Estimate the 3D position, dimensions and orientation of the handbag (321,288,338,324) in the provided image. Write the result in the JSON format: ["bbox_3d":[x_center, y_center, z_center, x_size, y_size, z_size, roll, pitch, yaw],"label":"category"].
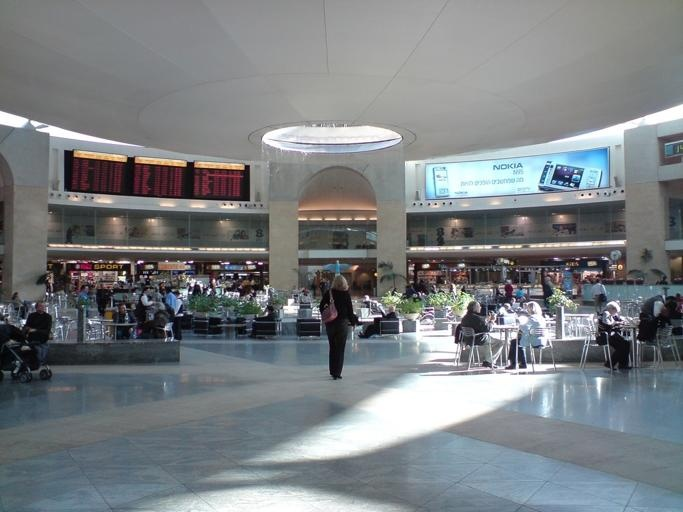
[{"bbox_3d":[-0.224,0.868,8.701,0.201,0.594,0.295,4,-7,-38],"label":"handbag"}]

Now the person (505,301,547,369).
[{"bbox_3d":[3.758,1.638,10.543,0.958,1.359,0.648,1,-6,-19],"label":"person"}]

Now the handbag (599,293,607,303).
[{"bbox_3d":[11.632,1.888,22.754,0.351,0.464,0.668,3,4,35],"label":"handbag"}]

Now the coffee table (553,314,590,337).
[{"bbox_3d":[6.507,2.000,14.469,0.964,0.872,0.749,1,-7,-6],"label":"coffee table"}]

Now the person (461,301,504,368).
[{"bbox_3d":[2.913,1.649,10.696,0.606,1.357,0.880,-5,-7,40],"label":"person"}]

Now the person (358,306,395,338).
[{"bbox_3d":[1.119,2.262,16.197,0.747,0.814,1.271,4,-8,-27],"label":"person"}]

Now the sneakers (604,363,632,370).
[{"bbox_3d":[5.644,2.269,10.443,0.488,0.196,0.148,-4,-3,6],"label":"sneakers"}]

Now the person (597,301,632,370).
[{"bbox_3d":[5.691,1.665,10.704,0.584,1.354,1.151,-3,-6,28],"label":"person"}]
